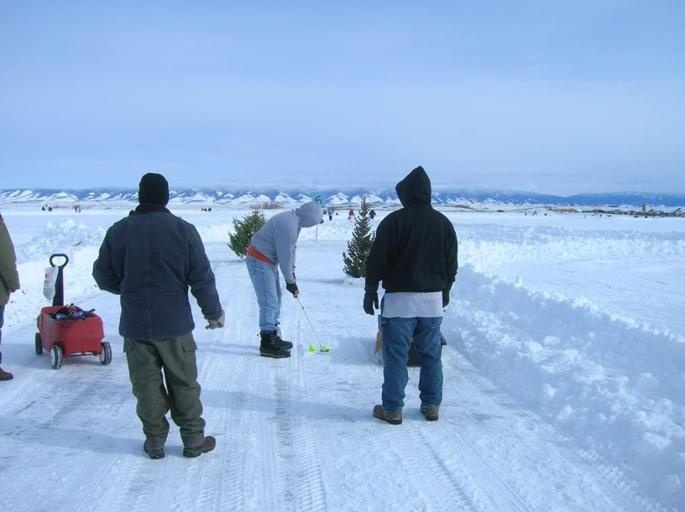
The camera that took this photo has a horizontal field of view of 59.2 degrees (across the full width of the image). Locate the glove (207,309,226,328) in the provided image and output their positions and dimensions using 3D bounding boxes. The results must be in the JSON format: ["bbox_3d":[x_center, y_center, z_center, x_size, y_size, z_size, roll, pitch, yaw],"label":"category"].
[{"bbox_3d":[-1.270,0.652,6.075,0.182,0.208,0.183,-3,-7,-12],"label":"glove"}]

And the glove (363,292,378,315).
[{"bbox_3d":[0.298,0.536,6.740,0.182,0.263,0.068,-4,12,-17],"label":"glove"}]

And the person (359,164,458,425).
[{"bbox_3d":[0.745,0.425,6.661,1.018,2.773,0.620,-1,9,-1],"label":"person"}]

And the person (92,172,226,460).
[{"bbox_3d":[-1.767,0.598,5.963,1.139,2.789,0.576,-3,10,-16],"label":"person"}]

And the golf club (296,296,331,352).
[{"bbox_3d":[-0.492,1.079,9.273,0.369,0.319,1.255,15,31,-31],"label":"golf club"}]

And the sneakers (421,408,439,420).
[{"bbox_3d":[0.961,1.747,6.701,0.232,0.107,0.089,-1,5,-20],"label":"sneakers"}]

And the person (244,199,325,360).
[{"bbox_3d":[-0.851,0.330,8.473,0.948,2.139,0.505,-2,10,-10],"label":"person"}]
